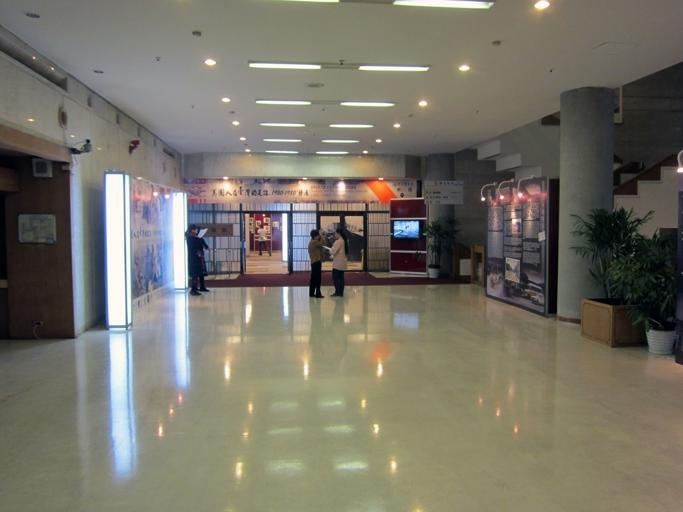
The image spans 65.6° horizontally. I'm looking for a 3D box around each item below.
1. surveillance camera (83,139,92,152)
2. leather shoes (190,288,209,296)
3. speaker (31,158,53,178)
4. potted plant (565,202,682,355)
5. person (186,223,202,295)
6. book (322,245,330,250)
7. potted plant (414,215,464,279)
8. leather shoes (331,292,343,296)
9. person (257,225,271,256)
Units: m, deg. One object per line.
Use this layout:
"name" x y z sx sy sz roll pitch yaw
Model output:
"surveillance camera" -4.227 -1.811 8.722 0.106 0.197 0.258 2 19 -30
"leather shoes" -3.545 0.871 13.160 0.522 0.258 0.181 -2 3 1
"speaker" -4.773 -1.387 8.292 0.316 0.300 0.102 -1 7 -8
"potted plant" 4.442 0.268 8.297 0.903 2.021 1.798 0 8 -2
"person" -3.730 0.068 13.035 0.303 1.654 0.520 -2 8 -17
"book" -0.449 -0.218 13.106 0.074 0.092 0.588 -4 3 -14
"potted plant" 2.871 -0.301 16.192 1.030 1.811 0.948 4 -1 37
"leather shoes" -0.159 0.880 12.396 0.260 0.122 0.095 0 -3 5
"person" -3.740 -0.756 24.834 0.647 1.247 1.801 -1 8 -9
